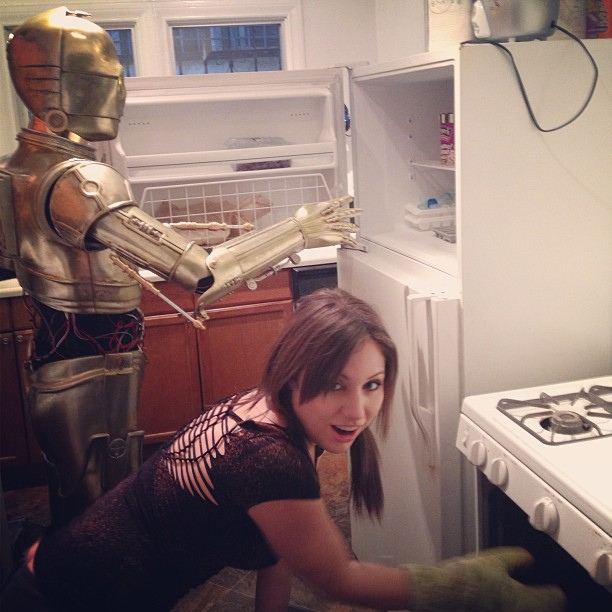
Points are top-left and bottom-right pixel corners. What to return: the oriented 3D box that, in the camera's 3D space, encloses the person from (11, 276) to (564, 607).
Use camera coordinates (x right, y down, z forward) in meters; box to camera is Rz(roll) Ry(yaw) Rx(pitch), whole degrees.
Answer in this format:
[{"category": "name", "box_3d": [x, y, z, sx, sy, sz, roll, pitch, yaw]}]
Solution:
[{"category": "person", "box_3d": [-0.059, 0.256, 0.924, 0.864, 0.543, 0.257, -5, 12, -11]}]
